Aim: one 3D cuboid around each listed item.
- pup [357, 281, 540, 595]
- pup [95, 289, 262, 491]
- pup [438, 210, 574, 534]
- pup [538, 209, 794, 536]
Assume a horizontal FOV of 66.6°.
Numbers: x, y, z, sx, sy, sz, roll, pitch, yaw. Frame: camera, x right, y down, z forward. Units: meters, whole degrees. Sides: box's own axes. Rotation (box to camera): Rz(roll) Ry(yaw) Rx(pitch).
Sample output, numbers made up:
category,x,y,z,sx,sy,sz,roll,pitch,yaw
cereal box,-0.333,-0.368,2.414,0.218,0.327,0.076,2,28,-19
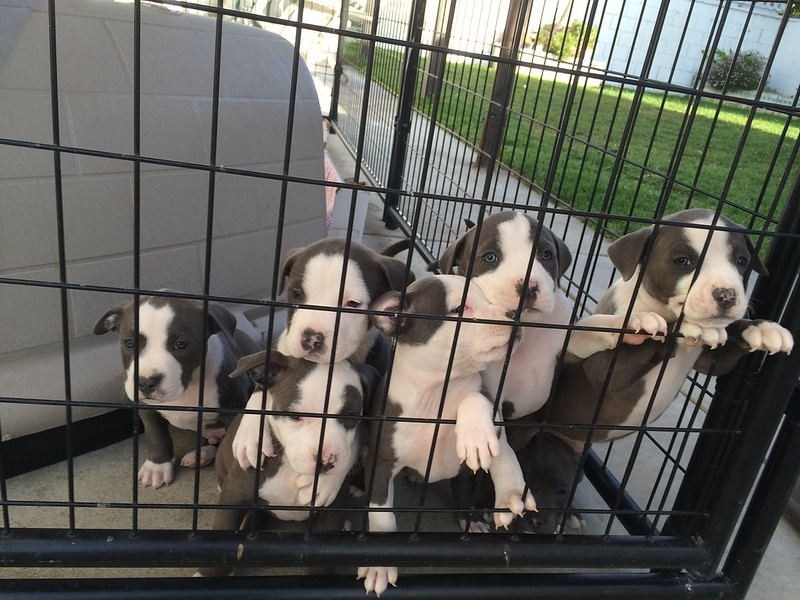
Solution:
category,x,y,z,sx,sy,sz,roll,pitch,yaw
pup,0.116,0.246,1.907,0.467,0.603,1.005,-1,10,-1
pup,-0.911,0.314,2.674,0.478,0.789,1.048,0,9,-5
pup,0.472,0.218,2.803,0.582,1.206,1.787,-2,-6,3
pup,0.885,0.174,2.099,0.507,0.679,0.848,3,3,-9
